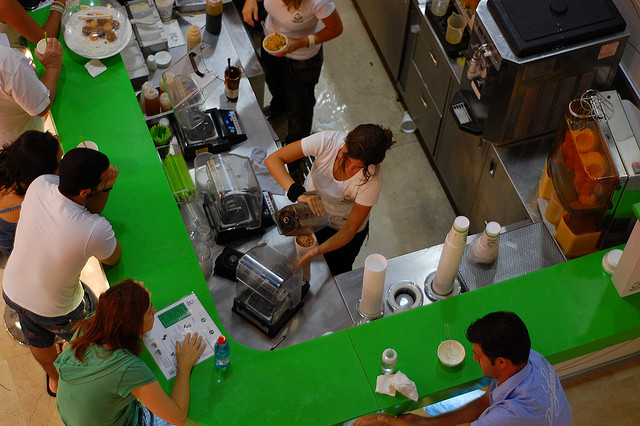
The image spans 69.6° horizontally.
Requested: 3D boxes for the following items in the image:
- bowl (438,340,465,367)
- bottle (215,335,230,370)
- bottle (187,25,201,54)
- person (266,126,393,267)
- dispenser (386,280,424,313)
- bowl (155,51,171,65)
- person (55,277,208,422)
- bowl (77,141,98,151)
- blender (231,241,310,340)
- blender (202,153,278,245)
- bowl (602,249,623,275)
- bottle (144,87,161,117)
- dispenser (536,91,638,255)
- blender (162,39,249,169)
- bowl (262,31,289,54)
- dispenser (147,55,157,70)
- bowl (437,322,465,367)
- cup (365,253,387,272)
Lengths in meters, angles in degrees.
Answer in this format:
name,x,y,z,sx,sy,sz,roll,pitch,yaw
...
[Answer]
name,x,y,z,sx,sy,sz,roll,pitch,yaw
bowl,0.853,0.915,3.002,0.169,0.099,0.129,-5,32,8
bottle,-0.639,0.914,2.991,0.074,0.218,0.083,2,24,-8
bottle,-1.268,-1.750,4.596,0.170,0.229,0.101,-16,30,-12
person,0.044,-0.114,3.710,0.694,0.516,1.115,-40,1,-12
dispenser,0.643,0.623,3.540,0.298,0.127,0.205,-13,32,-4
bowl,-1.563,-1.558,4.584,0.146,0.094,0.115,-18,32,-12
person,-1.180,0.892,2.946,0.479,0.747,0.537,-34,76,-34
bowl,-1.790,-0.522,3.536,0.112,0.026,0.110,4,52,-5
blender,-0.357,0.541,3.433,0.398,0.604,0.636,-28,52,-26
blender,-0.704,-0.143,3.828,0.557,0.546,0.530,-19,32,-15
bowl,2.084,0.356,3.345,0.143,0.053,0.154,-1,59,1
bottle,-1.570,-1.032,4.246,0.190,0.244,0.077,-4,29,8
dispenser,2.047,-0.270,3.505,0.564,1.009,0.698,-10,57,-5
blender,-1.087,-1.078,4.337,0.697,0.875,0.810,15,50,5
bowl,-0.416,-1.614,4.329,0.239,0.134,0.189,12,38,30
dispenser,-1.642,-1.477,4.499,0.094,0.125,0.105,0,-7,-12
bowl,0.850,0.858,3.012,0.148,0.291,0.059,-12,27,23
cup,0.385,0.340,3.203,0.104,0.089,0.132,2,75,3
